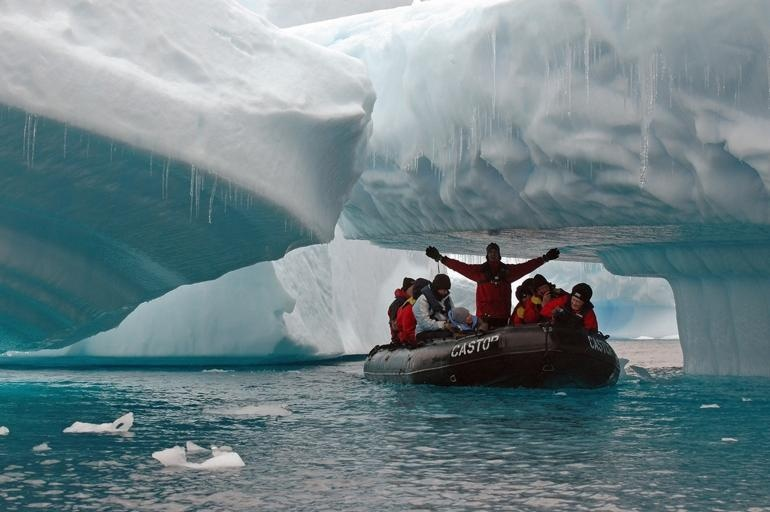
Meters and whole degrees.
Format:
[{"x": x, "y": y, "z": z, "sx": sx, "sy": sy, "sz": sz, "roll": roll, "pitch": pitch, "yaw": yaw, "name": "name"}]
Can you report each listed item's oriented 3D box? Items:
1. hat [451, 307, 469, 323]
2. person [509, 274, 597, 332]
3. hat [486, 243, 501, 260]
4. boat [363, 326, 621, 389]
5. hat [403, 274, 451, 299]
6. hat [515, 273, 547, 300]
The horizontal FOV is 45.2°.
[{"x": 1.168, "y": 0.908, "z": 14.475, "sx": 0.284, "sy": 0.253, "sz": 0.363, "roll": -5, "pitch": -8, "yaw": 3, "name": "hat"}, {"x": 2.486, "y": 0.643, "z": 13.890, "sx": 0.988, "sy": 0.476, "sz": 1.145, "roll": 2, "pitch": -23, "yaw": 0, "name": "person"}, {"x": 1.660, "y": -0.067, "z": 14.314, "sx": 0.260, "sy": 0.107, "sz": 0.317, "roll": -2, "pitch": -18, "yaw": 4, "name": "hat"}, {"x": 1.400, "y": 1.597, "z": 14.093, "sx": 2.834, "sy": 0.474, "sz": 1.471, "roll": -9, "pitch": -19, "yaw": 42, "name": "boat"}, {"x": 0.664, "y": 0.474, "z": 14.204, "sx": 0.625, "sy": 0.214, "sz": 0.394, "roll": -6, "pitch": -5, "yaw": 28, "name": "hat"}, {"x": 2.285, "y": 0.481, "z": 14.282, "sx": 0.384, "sy": 0.182, "sz": 0.487, "roll": -20, "pitch": -2, "yaw": -36, "name": "hat"}]
